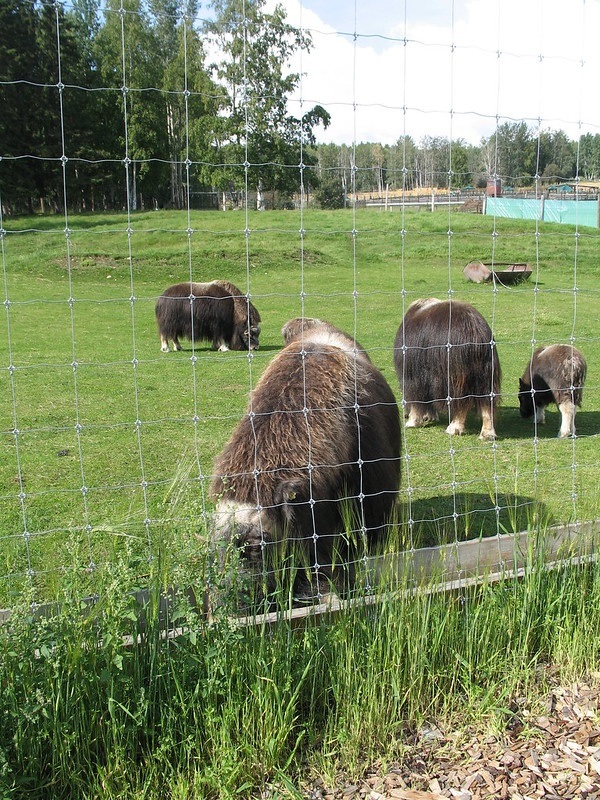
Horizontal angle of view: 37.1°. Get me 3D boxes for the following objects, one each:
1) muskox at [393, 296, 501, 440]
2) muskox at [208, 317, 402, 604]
[{"bbox_3d":[1.286,-0.382,8.838,0.743,1.404,1.717,-9,13,-21],"label":"muskox"},{"bbox_3d":[0.027,0.273,3.940,0.695,0.937,1.823,1,10,12],"label":"muskox"}]
